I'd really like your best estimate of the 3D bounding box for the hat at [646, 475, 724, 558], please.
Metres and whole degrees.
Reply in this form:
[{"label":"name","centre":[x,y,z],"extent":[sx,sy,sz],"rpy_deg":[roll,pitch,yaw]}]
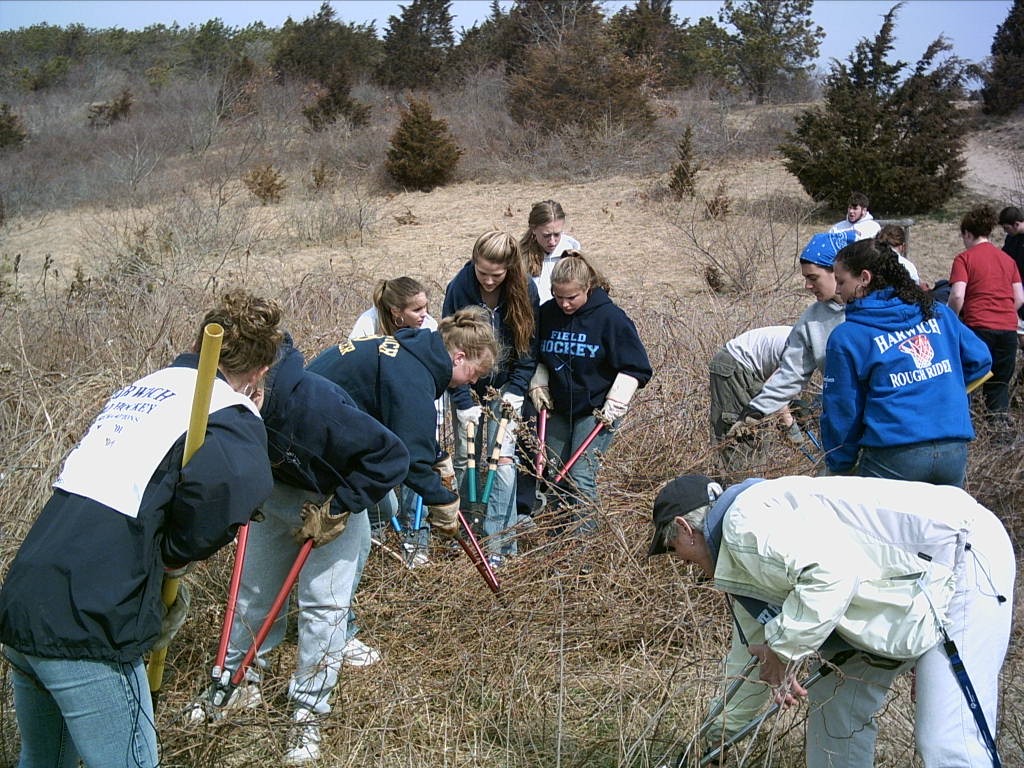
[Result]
[{"label":"hat","centre":[0.812,0.578,5.401],"extent":[0.413,0.247,0.295],"rpy_deg":[-42,-10,29]}]
